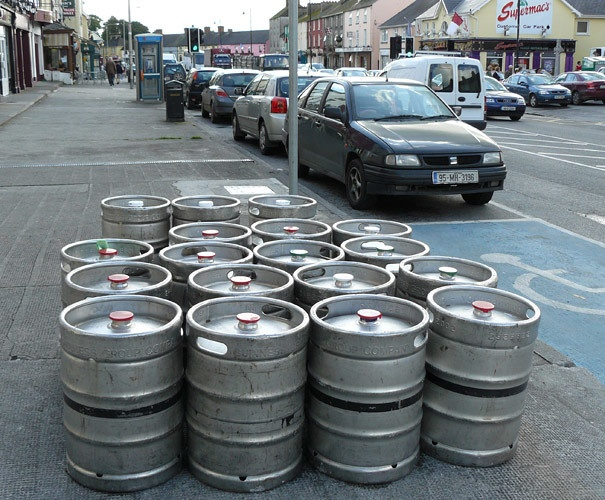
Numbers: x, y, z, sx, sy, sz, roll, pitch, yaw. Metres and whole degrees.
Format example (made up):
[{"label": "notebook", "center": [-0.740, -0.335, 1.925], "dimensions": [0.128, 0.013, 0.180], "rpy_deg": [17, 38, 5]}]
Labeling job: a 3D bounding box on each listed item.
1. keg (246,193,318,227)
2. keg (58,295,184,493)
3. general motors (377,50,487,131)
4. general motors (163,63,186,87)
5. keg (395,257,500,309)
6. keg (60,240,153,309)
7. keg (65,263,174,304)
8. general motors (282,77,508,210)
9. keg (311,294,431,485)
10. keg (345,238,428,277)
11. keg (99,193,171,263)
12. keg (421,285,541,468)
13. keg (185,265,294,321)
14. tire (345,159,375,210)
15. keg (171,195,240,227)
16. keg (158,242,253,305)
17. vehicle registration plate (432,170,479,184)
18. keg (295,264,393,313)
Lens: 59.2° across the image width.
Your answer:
[{"label": "keg", "center": [-0.180, -0.331, 4.131], "dimensions": [0.385, 0.231, 0.356], "rpy_deg": [6, 14, 22]}, {"label": "keg", "center": [-0.855, 0.685, 2.543], "dimensions": [0.480, 0.865, 0.506], "rpy_deg": [16, 25, 38]}, {"label": "general motors", "center": [4.380, -5.896, 20.816], "dimensions": [3.172, 2.511, 5.426], "rpy_deg": [-4, 15, -17]}, {"label": "general motors", "center": [-9.042, -12.425, 37.041], "dimensions": [1.336, 1.103, 1.926], "rpy_deg": [-5, 18, -14]}, {"label": "keg", "center": [0.821, 0.152, 3.121], "dimensions": [0.424, 0.213, 0.384], "rpy_deg": [-4, 15, -14]}, {"label": "keg", "center": [-1.234, 0.098, 3.301], "dimensions": [0.514, 0.304, 0.460], "rpy_deg": [2, 12, -3]}, {"label": "keg", "center": [-1.032, 0.174, 2.883], "dimensions": [0.367, 0.225, 0.327], "rpy_deg": [5, 17, -1]}, {"label": "general motors", "center": [1.329, -2.072, 9.950], "dimensions": [2.417, 1.570, 4.236], "rpy_deg": [-6, 17, -21]}, {"label": "keg", "center": [0.299, 0.687, 2.612], "dimensions": [0.574, 0.867, 0.393], "rpy_deg": [0, 20, 0]}, {"label": "keg", "center": [0.525, 0.005, 3.432], "dimensions": [0.363, 0.211, 0.325], "rpy_deg": [0, 16, -1]}, {"label": "keg", "center": [-1.278, -0.205, 4.017], "dimensions": [0.531, 0.321, 0.481], "rpy_deg": [9, 20, 12]}, {"label": "keg", "center": [0.900, 0.660, 2.789], "dimensions": [0.541, 0.884, 0.407], "rpy_deg": [3, 20, 10]}, {"label": "keg", "center": [-0.272, 0.276, 2.892], "dimensions": [0.515, 0.309, 0.457], "rpy_deg": [0, 22, 9]}, {"label": "tire", "center": [0.945, -1.069, 8.648], "dimensions": [0.326, 0.803, 0.902], "rpy_deg": [-3, 7, -15]}, {"label": "keg", "center": [-0.749, -0.321, 4.087], "dimensions": [0.382, 0.225, 0.342], "rpy_deg": [1, 11, -4]}, {"label": "keg", "center": [-0.611, 0.064, 3.198], "dimensions": [0.497, 0.297, 0.443], "rpy_deg": [3, 15, -1]}, {"label": "vehicle registration plate", "center": [2.383, -1.136, 8.293], "dimensions": [0.830, 0.214, 0.061], "rpy_deg": [-6, 21, -17]}, {"label": "keg", "center": [0.132, 0.215, 2.970], "dimensions": [0.514, 0.165, 0.489], "rpy_deg": [-7, 19, -32]}]
